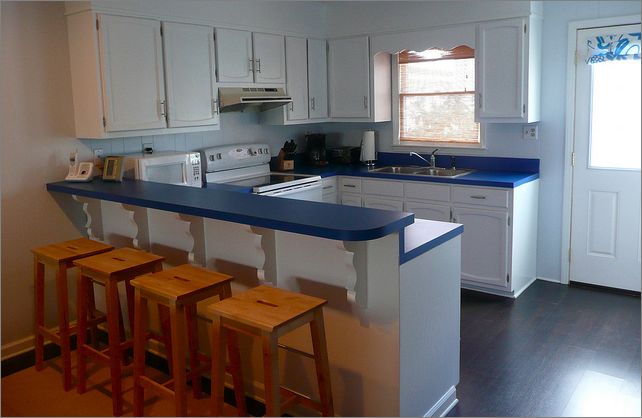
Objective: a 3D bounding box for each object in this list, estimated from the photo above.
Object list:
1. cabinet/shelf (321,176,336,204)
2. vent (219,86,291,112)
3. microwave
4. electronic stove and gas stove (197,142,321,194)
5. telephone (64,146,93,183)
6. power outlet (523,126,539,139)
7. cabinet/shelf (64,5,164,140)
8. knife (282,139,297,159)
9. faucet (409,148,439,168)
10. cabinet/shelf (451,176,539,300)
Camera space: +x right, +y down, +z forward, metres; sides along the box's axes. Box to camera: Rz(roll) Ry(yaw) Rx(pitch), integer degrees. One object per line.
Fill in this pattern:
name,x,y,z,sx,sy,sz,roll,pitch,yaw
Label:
cabinet/shelf,0.114,-0.236,5.545,0.091,0.332,0.291,9,17,30
vent,-0.811,-1.265,5.198,0.508,0.276,0.933,10,17,31
microwave,-1.508,-0.373,4.376,0.291,0.329,0.697,14,20,43
electronic stove and gas stove,-0.691,-0.445,5.155,0.751,0.494,0.978,7,15,33
telephone,-2.185,-0.392,4.117,0.257,0.262,0.227,5,10,33
power outlet,2.364,-0.870,5.122,0.145,0.146,0.018,6,9,43
cabinet/shelf,-1.880,-1.243,4.236,0.827,1.104,0.406,-7,16,-27
knife,-0.407,-0.760,5.739,0.164,0.291,0.164,-19,35,-38
faucet,1.254,-0.649,5.650,0.347,0.219,0.222,7,16,24
cabinet/shelf,1.992,0.305,4.964,1.043,1.191,0.520,-3,15,-13
